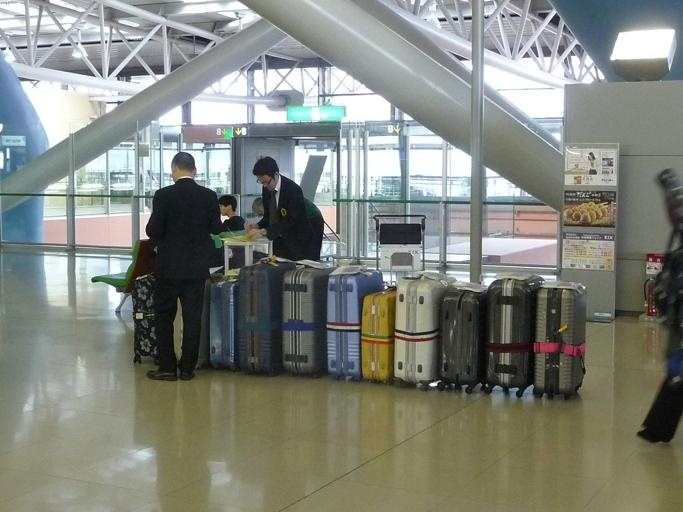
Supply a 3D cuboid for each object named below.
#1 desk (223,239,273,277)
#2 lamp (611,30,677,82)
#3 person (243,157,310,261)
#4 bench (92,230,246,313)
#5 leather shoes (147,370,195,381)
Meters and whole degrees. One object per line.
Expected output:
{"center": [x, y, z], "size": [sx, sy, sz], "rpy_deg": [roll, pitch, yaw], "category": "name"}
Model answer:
{"center": [-1.150, -0.016, 7.965], "size": [0.707, 0.481, 0.700], "rpy_deg": [-1, 2, -14], "category": "desk"}
{"center": [4.214, -2.785, 8.759], "size": [0.705, 0.790, 0.812], "rpy_deg": [4, 9, 31], "category": "lamp"}
{"center": [-0.703, -0.530, 7.240], "size": [0.684, 1.180, 0.724], "rpy_deg": [0, 8, 1], "category": "person"}
{"center": [-2.556, 0.320, 8.273], "size": [0.677, 0.877, 1.279], "rpy_deg": [-1, -7, 18], "category": "bench"}
{"center": [-1.614, 1.128, 5.979], "size": [0.406, 0.121, 0.150], "rpy_deg": [4, -5, -5], "category": "leather shoes"}
